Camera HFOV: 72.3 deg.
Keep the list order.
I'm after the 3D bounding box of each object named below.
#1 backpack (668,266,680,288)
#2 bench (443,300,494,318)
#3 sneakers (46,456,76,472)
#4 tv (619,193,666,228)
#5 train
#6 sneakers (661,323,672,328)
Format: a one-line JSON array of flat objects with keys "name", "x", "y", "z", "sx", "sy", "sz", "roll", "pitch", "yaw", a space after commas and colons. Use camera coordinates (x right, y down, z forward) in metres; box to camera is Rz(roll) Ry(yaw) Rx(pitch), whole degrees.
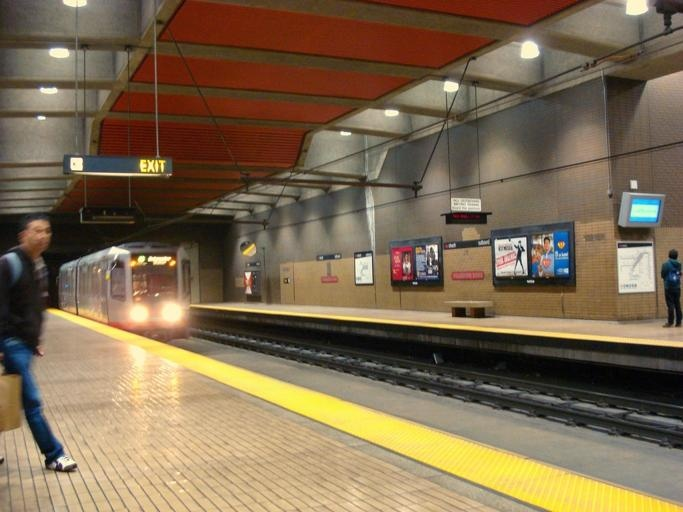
[{"name": "backpack", "x": 7.212, "y": 0.484, "z": 10.167, "sx": 0.261, "sy": 0.350, "sz": 0.095, "roll": 1, "pitch": -2, "yaw": -16}, {"name": "bench", "x": 3.950, "y": 1.630, "z": 14.449, "sx": 1.427, "sy": 0.524, "sz": 1.921, "roll": 0, "pitch": -3, "yaw": 17}, {"name": "sneakers", "x": -2.132, "y": 1.567, "z": 3.543, "sx": 0.268, "sy": 0.100, "sz": 0.096, "roll": -10, "pitch": -12, "yaw": 30}, {"name": "tv", "x": 7.686, "y": -1.191, "z": 12.107, "sx": 0.988, "sy": 0.772, "sz": 0.325, "roll": 1, "pitch": 8, "yaw": -20}, {"name": "train", "x": -8.189, "y": 1.234, "z": 17.717, "sx": 2.629, "sy": 3.060, "sz": 10.722, "roll": 0, "pitch": -4, "yaw": -30}, {"name": "sneakers", "x": 7.351, "y": 1.587, "z": 10.622, "sx": 0.236, "sy": 0.092, "sz": 0.079, "roll": 0, "pitch": -4, "yaw": 17}]
